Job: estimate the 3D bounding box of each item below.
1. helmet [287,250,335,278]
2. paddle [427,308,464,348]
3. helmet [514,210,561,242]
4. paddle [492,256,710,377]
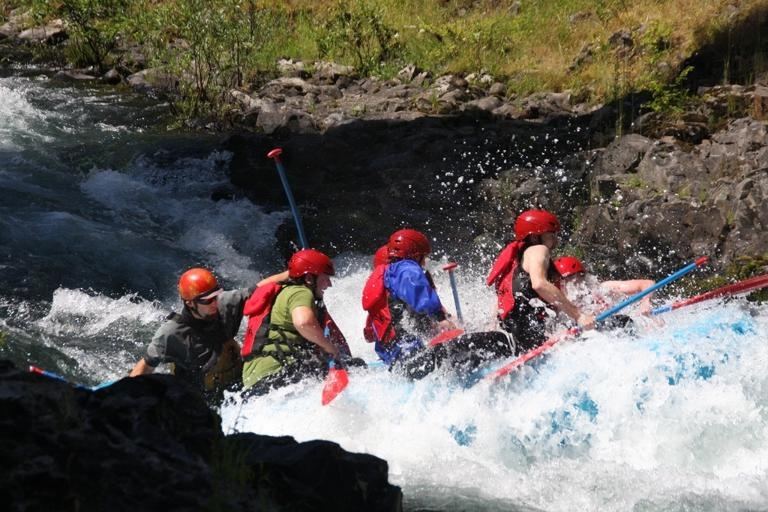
[{"bbox_3d":[-1.269,0.148,19.264,0.633,0.409,0.464,-8,11,-12],"label":"helmet"},{"bbox_3d":[1.199,1.340,19.250,0.310,0.383,0.917,12,41,35],"label":"paddle"},{"bbox_3d":[2.676,-0.562,19.447,0.611,0.425,0.499,9,-2,5],"label":"helmet"},{"bbox_3d":[3.711,1.123,19.073,3.502,0.122,0.248,-32,18,-12],"label":"paddle"}]
